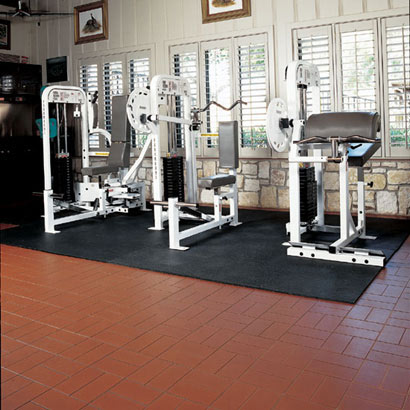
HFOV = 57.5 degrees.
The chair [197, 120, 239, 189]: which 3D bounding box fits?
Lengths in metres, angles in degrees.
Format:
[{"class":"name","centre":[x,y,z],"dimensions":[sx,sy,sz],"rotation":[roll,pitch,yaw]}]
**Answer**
[{"class":"chair","centre":[0.190,-0.654,4.801],"dimensions":[0.473,0.836,1.315],"rotation":[-2,8,4]}]

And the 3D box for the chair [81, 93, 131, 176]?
[{"class":"chair","centre":[-1.475,-1.116,5.928],"dimensions":[0.719,1.253,0.531],"rotation":[-8,10,-34]}]
